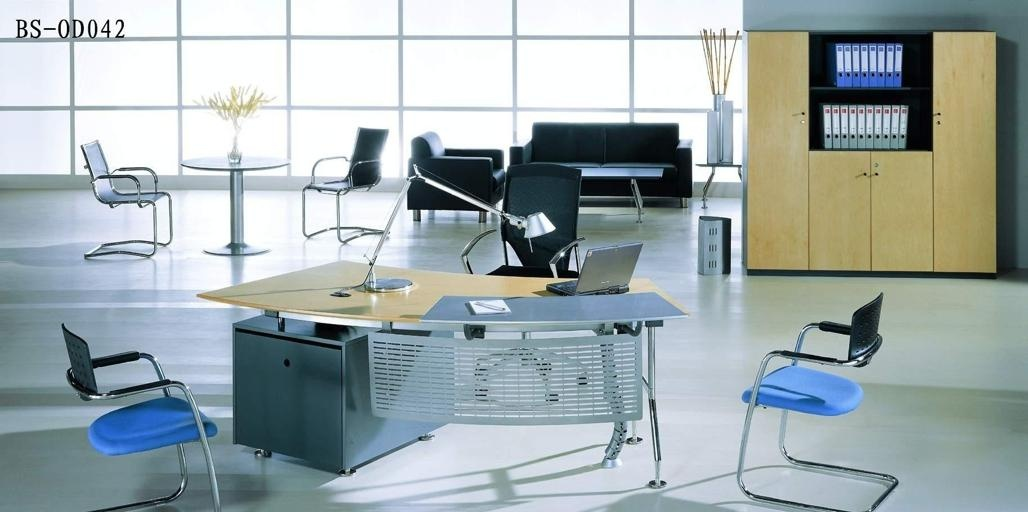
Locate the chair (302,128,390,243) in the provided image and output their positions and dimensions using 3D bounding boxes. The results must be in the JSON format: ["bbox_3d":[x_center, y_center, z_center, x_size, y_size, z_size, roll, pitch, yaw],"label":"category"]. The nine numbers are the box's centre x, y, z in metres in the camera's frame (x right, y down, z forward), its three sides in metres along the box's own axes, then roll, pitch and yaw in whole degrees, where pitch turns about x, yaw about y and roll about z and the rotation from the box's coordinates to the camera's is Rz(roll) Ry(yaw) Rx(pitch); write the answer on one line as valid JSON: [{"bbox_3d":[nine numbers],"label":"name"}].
[{"bbox_3d":[-3.011,-1.259,13.429,1.317,1.703,4.534,-1,6,-14],"label":"chair"}]

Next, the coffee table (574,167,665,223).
[{"bbox_3d":[1.822,-1.447,13.029,2.443,0.847,1.036,0,11,6],"label":"coffee table"}]

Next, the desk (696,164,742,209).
[{"bbox_3d":[3.576,-1.298,14.027,1.160,0.611,0.983,2,11,10],"label":"desk"}]

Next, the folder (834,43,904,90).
[{"bbox_3d":[4.420,-2.377,9.707,0.827,0.560,0.195,0,7,0],"label":"folder"}]

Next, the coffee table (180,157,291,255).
[{"bbox_3d":[-3.997,-0.740,11.131,1.257,1.362,1.167,-2,7,-16],"label":"coffee table"}]

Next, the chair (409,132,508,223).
[{"bbox_3d":[-0.901,-1.331,13.270,1.885,1.494,1.723,1,8,7],"label":"chair"}]

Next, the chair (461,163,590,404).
[{"bbox_3d":[0.440,-0.410,8.233,1.367,1.606,1.385,4,8,25],"label":"chair"}]

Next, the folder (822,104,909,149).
[{"bbox_3d":[4.411,-1.627,9.796,1.222,0.536,0.634,1,14,9],"label":"folder"}]

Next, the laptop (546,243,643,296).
[{"bbox_3d":[0.676,0.106,6.598,0.784,0.436,0.359,0,7,1],"label":"laptop"}]

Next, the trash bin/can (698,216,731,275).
[{"bbox_3d":[2.625,-0.150,10.082,0.471,0.725,0.279,0,7,-5],"label":"trash bin/can"}]
